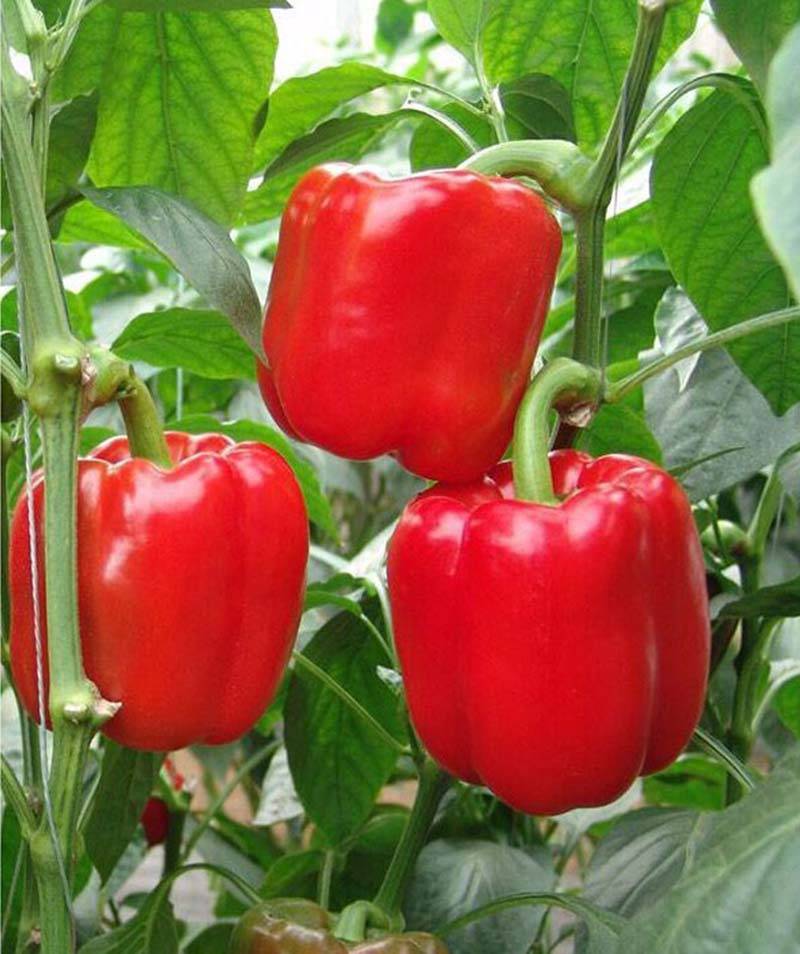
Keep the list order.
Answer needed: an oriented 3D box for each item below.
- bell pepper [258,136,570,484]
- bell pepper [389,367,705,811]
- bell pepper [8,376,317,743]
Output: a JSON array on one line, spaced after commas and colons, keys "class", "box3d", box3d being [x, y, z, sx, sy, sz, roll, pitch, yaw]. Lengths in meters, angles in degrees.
[{"class": "bell pepper", "box3d": [0.010, -0.066, 0.505, 0.124, 0.158, 0.125, 20, 0, 0]}, {"class": "bell pepper", "box3d": [0.071, 0.056, 0.468, 0.126, 0.220, 0.135, -5, 6, 33]}, {"class": "bell pepper", "box3d": [-0.123, 0.036, 0.524, 0.135, 0.209, 0.143, -3, -3, -19]}]
